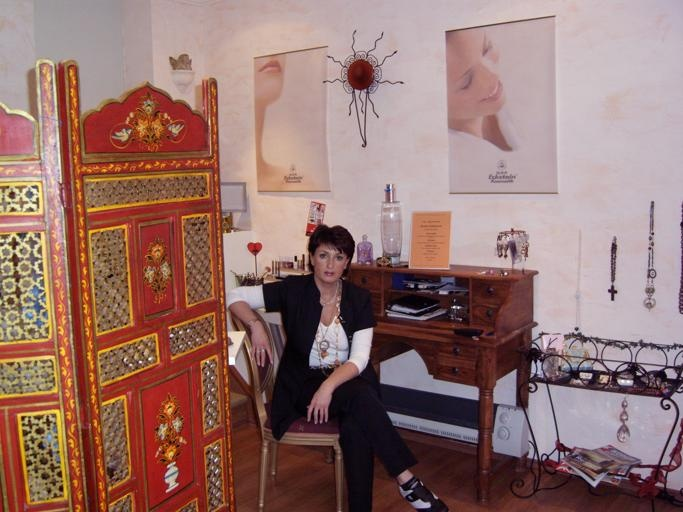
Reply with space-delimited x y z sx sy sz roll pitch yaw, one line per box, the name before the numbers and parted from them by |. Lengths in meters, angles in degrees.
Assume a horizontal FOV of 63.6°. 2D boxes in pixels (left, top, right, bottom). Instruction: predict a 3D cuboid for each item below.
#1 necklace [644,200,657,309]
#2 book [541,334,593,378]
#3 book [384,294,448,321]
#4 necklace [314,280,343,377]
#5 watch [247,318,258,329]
necklace | 1.875 -0.008 3.326 0.065 0.654 0.041 3 5 32
book | 1.393 0.620 3.456 0.262 0.310 0.179 3 -6 1
book | 0.528 0.349 3.759 0.213 0.073 0.216 7 9 43
necklace | -0.081 0.414 3.064 0.188 0.393 0.087 2 4 9
watch | -0.505 0.375 3.135 0.055 0.042 0.060 -20 7 39
